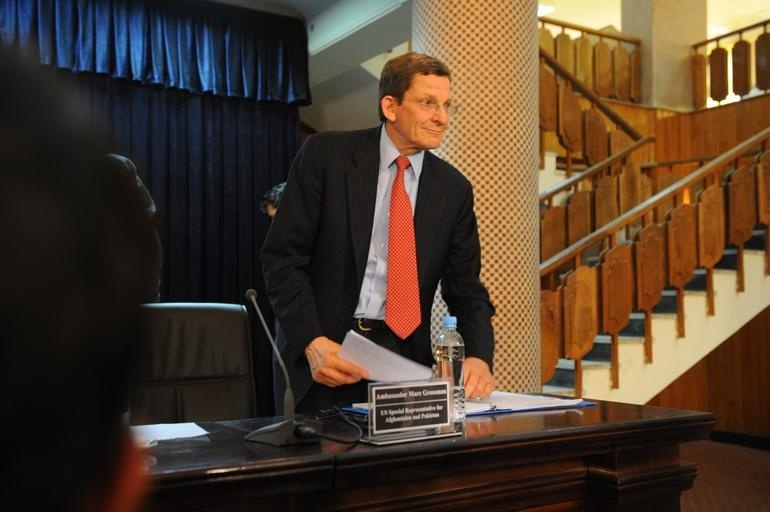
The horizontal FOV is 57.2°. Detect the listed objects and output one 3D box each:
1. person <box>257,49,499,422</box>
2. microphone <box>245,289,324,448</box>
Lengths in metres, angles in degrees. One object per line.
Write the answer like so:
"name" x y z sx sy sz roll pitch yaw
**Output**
"person" -0.004 0.202 1.960 0.601 1.469 0.648 5 4 5
"microphone" -0.202 0.170 1.417 0.156 0.374 0.159 1 2 24
